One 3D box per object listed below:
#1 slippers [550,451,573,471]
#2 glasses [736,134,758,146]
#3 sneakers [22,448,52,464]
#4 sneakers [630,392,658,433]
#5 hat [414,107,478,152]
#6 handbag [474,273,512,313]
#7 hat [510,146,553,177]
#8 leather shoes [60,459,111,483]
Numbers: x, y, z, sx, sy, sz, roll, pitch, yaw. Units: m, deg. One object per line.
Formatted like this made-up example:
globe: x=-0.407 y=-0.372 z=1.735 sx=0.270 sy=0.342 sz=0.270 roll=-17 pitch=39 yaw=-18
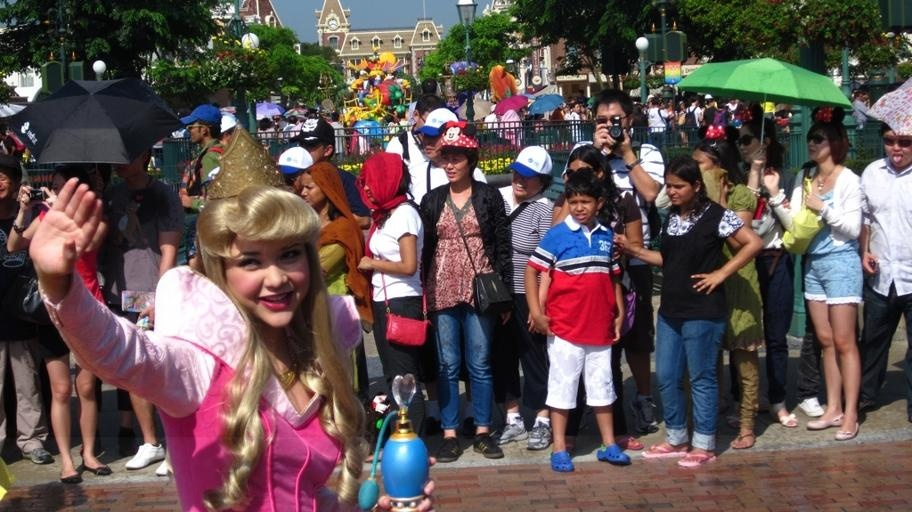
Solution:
slippers: x=0.980 y=1.885 z=8.593 sx=0.215 sy=0.165 sz=0.147 roll=-5 pitch=-2 yaw=5
glasses: x=3.010 y=-1.202 z=9.552 sx=0.116 sy=0.046 sz=0.113 roll=7 pitch=-6 yaw=-28
sneakers: x=-3.990 y=1.890 z=8.809 sx=0.270 sy=0.110 sz=0.133 roll=1 pitch=7 yaw=19
sneakers: x=1.918 y=1.513 z=9.365 sx=0.209 sy=0.261 sz=0.618 roll=-1 pitch=12 yaw=0
hat: x=-0.050 y=-1.246 z=9.189 sx=0.428 sy=0.338 sz=0.622 roll=17 pitch=2 yaw=31
handbag: x=0.341 y=0.321 z=8.742 sx=0.362 sy=0.335 sz=0.193 roll=-2 pitch=-14 yaw=-41
hat: x=0.777 y=-0.925 z=9.229 sx=0.368 sy=0.199 sz=0.262 roll=7 pitch=12 yaw=-41
leather shoes: x=-3.456 y=2.000 z=8.571 sx=0.150 sy=0.126 sz=0.465 roll=2 pitch=7 yaw=39
